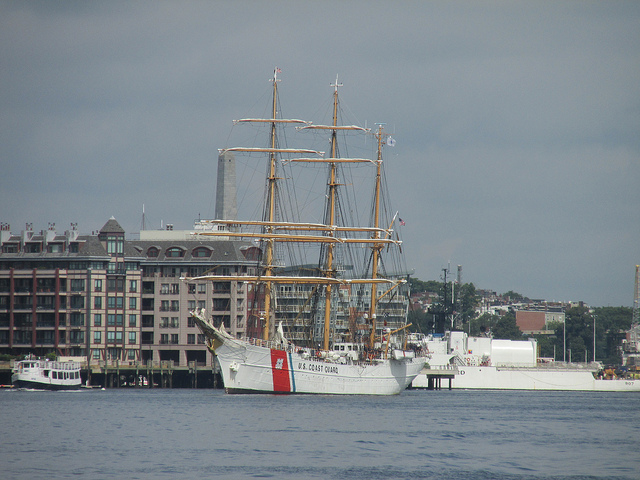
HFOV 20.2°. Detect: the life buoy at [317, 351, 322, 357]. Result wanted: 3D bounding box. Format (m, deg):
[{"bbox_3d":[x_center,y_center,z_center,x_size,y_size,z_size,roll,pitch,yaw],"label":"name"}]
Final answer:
[{"bbox_3d":[0.076,18.201,276.125,0.840,0.948,0.264,0,-1,25],"label":"life buoy"}]
